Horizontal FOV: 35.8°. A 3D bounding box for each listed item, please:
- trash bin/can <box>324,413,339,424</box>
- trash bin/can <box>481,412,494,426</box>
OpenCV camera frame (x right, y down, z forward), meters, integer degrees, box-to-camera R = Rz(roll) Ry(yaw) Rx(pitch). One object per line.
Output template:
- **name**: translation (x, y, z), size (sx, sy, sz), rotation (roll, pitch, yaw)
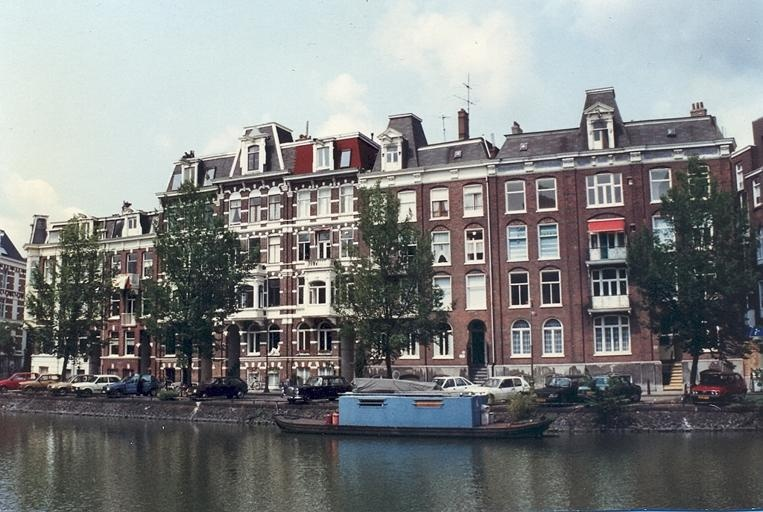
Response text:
- **trash bin/can**: translation (-3.653, 11.896, 86.538), size (0.794, 0.779, 0.816), rotation (3, -16, -9)
- **trash bin/can**: translation (7.537, 11.689, 85.000), size (0.696, 0.915, 1.208), rotation (-4, -5, 28)
